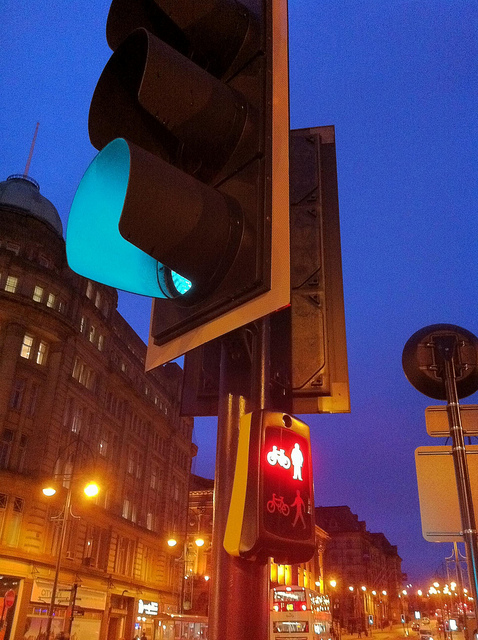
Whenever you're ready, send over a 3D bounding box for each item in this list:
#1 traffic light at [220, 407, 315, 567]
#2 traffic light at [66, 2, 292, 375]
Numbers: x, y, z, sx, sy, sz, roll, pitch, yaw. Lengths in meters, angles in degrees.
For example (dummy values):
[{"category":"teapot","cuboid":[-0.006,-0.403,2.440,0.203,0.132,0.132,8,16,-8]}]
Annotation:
[{"category":"traffic light","cuboid":[0.108,0.484,1.312,0.164,0.417,0.374,-16,-33,29]},{"category":"traffic light","cuboid":[-0.309,-0.724,1.956,0.773,1.673,1.031,20,-34,-33]}]
